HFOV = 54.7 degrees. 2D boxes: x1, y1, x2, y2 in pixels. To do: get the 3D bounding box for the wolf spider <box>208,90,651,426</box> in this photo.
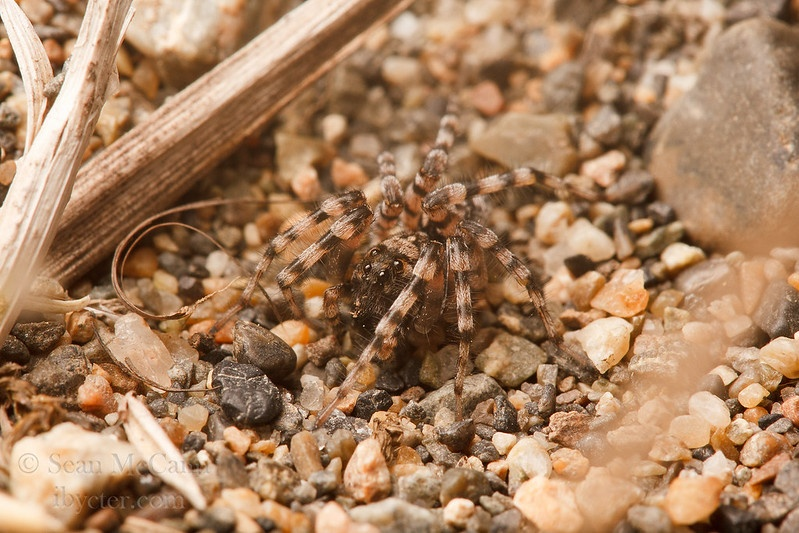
[{"bbox_3d":[0.120,0.041,2.687,0.996,0.306,1.266,41,72,15],"label":"wolf spider"}]
